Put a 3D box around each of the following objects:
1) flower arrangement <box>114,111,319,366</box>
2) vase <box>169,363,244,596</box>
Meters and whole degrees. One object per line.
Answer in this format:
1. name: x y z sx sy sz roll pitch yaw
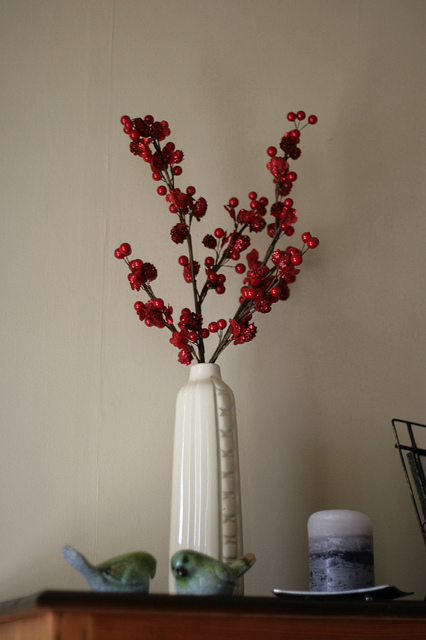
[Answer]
1. flower arrangement: 0.022 -0.162 1.011 0.306 0.493 0.338 -9 -26 9
2. vase: -0.026 0.191 0.811 0.092 0.236 0.099 0 -6 -17
